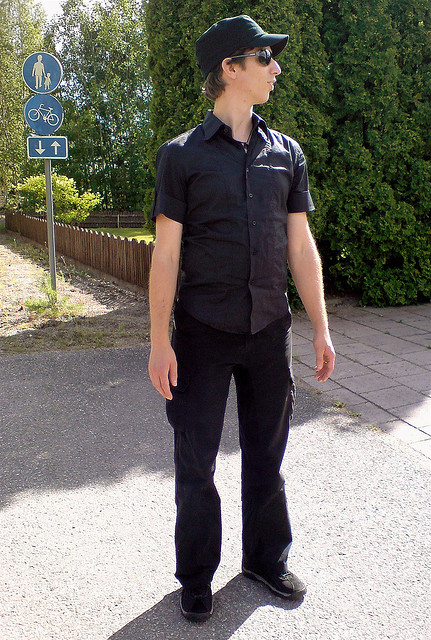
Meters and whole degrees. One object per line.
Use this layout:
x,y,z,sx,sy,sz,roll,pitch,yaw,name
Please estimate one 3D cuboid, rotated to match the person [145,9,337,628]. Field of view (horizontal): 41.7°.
0.102,0.028,1.909,0.662,1.995,0.402,-2,12,-11,person
